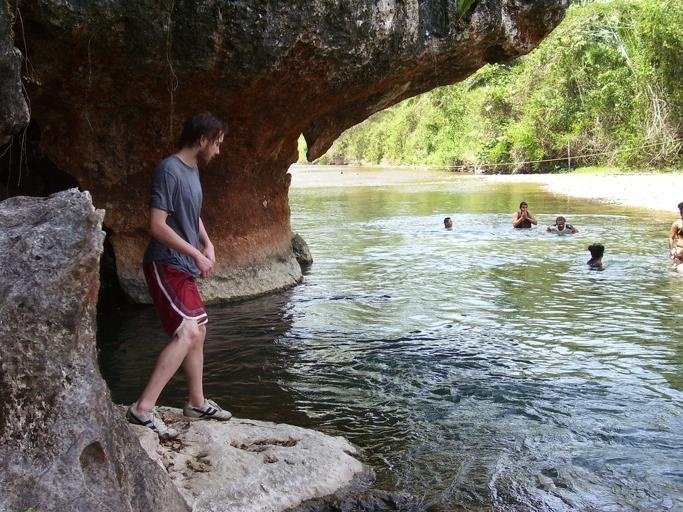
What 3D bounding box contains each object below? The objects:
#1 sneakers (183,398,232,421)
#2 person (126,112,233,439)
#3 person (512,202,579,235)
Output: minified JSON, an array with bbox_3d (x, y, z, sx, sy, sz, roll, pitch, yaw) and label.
[{"bbox_3d":[-1.031,1.201,4.395,0.405,0.161,0.142,4,-2,-17],"label":"sneakers"},{"bbox_3d":[-1.182,0.162,4.098,0.672,2.398,0.998,-2,12,-2],"label":"person"},{"bbox_3d":[5.809,-1.154,16.253,0.903,0.786,1.780,-8,13,-31],"label":"person"}]
